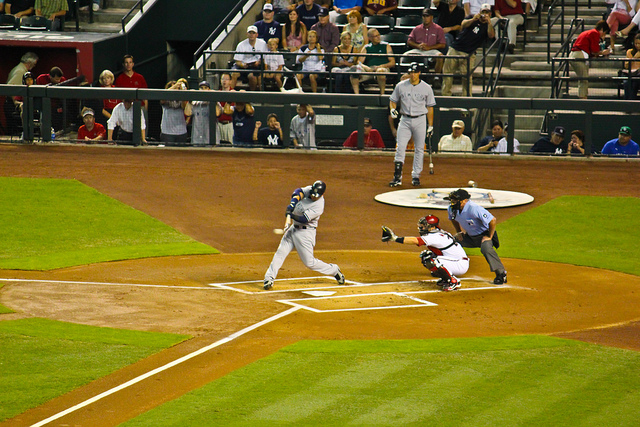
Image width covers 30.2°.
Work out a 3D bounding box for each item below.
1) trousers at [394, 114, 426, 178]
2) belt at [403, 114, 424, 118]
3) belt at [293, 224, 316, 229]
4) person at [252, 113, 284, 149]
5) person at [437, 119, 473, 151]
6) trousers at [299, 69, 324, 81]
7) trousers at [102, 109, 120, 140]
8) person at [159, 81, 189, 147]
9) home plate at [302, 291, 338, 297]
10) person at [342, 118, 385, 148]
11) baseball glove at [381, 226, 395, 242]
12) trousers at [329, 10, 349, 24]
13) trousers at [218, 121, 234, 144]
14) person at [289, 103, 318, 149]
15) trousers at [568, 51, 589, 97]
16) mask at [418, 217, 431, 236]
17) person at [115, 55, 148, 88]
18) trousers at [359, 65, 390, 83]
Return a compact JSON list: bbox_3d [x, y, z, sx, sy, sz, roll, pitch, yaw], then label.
[{"bbox_3d":[2.373,-1.763,30.739,0.807,1.666,0.696,-4,8,-43],"label":"trousers"},{"bbox_3d":[2.392,-2.511,30.346,0.379,0.072,0.093,1,5,-11],"label":"belt"},{"bbox_3d":[-0.475,0.260,24.968,0.285,0.095,0.088,3,6,13],"label":"belt"},{"bbox_3d":[-1.548,-2.384,34.206,0.892,1.005,0.543,2,6,4],"label":"person"},{"bbox_3d":[3.750,-2.180,33.891,1.156,0.900,0.468,4,9,4],"label":"person"},{"bbox_3d":[-0.249,-4.143,35.164,0.637,0.325,0.617,1,5,-2],"label":"trousers"},{"bbox_3d":[-6.185,-2.632,34.693,0.463,0.875,0.964,1,5,-11],"label":"trousers"},{"bbox_3d":[-4.274,-2.612,34.375,0.840,1.326,0.857,1,6,-6],"label":"person"},{"bbox_3d":[-0.053,1.687,25.074,0.652,0.079,0.330,1,5,-1],"label":"home plate"},{"bbox_3d":[1.238,-2.318,33.874,1.175,0.862,0.569,2,6,0],"label":"person"},{"bbox_3d":[1.431,0.426,25.300,0.264,0.306,0.397,2,5,3],"label":"baseball glove"},{"bbox_3d":[0.459,-6.277,37.643,0.448,0.490,0.766,1,5,-7],"label":"trousers"},{"bbox_3d":[-2.787,-2.372,34.466,0.459,0.566,0.254,1,6,-5],"label":"trousers"},{"bbox_3d":[-0.498,-2.514,33.968,0.816,1.289,0.745,2,6,-1],"label":"person"},{"bbox_3d":[7.463,-4.068,34.315,0.574,1.335,0.800,3,6,12],"label":"trousers"},{"bbox_3d":[2.206,0.289,25.499,0.410,0.330,0.296,3,4,5],"label":"mask"},{"bbox_3d":[-5.661,-4.156,35.116,1.284,0.949,0.592,-2,7,0],"label":"person"},{"bbox_3d":[1.434,-4.179,35.209,0.983,0.535,0.885,-2,6,-34],"label":"trousers"}]
